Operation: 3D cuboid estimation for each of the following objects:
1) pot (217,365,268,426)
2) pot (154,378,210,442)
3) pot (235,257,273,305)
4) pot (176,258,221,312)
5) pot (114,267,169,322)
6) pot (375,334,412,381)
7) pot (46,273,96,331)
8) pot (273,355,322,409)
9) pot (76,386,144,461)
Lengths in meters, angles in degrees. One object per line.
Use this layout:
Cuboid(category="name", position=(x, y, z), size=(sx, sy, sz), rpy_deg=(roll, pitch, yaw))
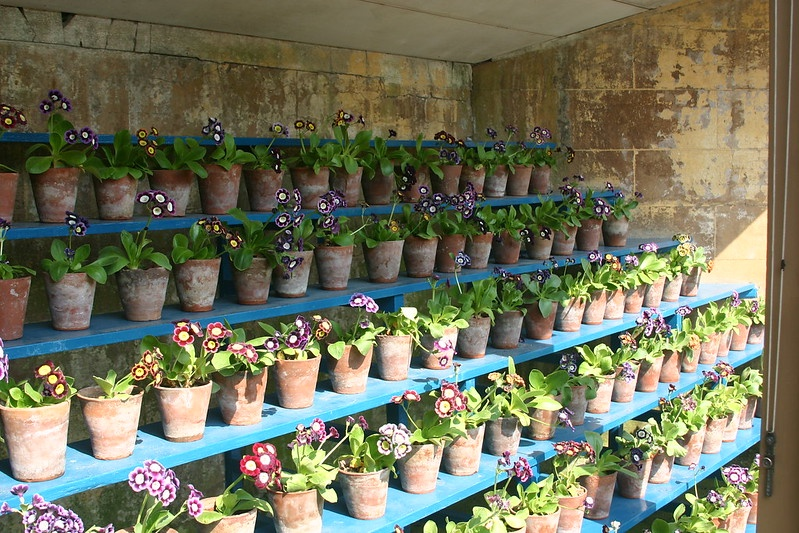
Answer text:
Cuboid(category="pot", position=(-0.652, 0.543, 2.807), size=(0.236, 0.194, 0.240), rpy_deg=(0, -5, 0))
Cuboid(category="pot", position=(-0.912, 0.613, 2.707), size=(0.255, 0.204, 0.232), rpy_deg=(-6, -10, -1))
Cuboid(category="pot", position=(-0.686, 0.074, 3.025), size=(0.190, 0.192, 0.180), rpy_deg=(-2, -2, 0))
Cuboid(category="pot", position=(-0.827, 0.079, 2.822), size=(0.231, 0.220, 0.228), rpy_deg=(-1, 0, 0))
Cuboid(category="pot", position=(-1.105, 0.109, 2.774), size=(0.227, 0.231, 0.230), rpy_deg=(1, 4, 0))
Cuboid(category="pot", position=(-0.037, 0.470, 3.343), size=(0.227, 0.218, 0.235), rpy_deg=(-2, -6, 0))
Cuboid(category="pot", position=(-1.333, 0.147, 2.627), size=(0.200, 0.198, 0.189), rpy_deg=(-2, -4, 0))
Cuboid(category="pot", position=(-0.460, 0.507, 2.976), size=(0.241, 0.196, 0.228), rpy_deg=(0, 2, 0))
Cuboid(category="pot", position=(-1.123, 0.610, 2.569), size=(0.248, 0.245, 0.252), rpy_deg=(-1, 5, 0))
